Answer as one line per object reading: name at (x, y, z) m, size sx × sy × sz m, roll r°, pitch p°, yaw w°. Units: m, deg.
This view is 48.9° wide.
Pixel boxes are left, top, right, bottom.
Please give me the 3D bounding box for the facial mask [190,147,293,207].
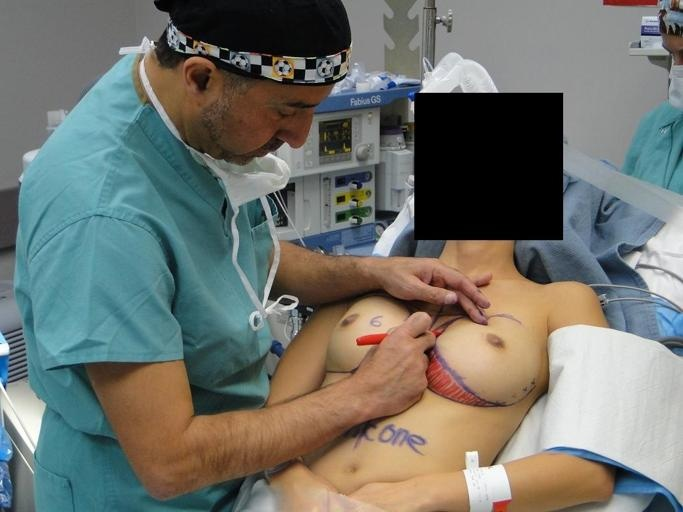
facial mask at (-0.257, -0.223, 2.075) m, size 0.163 × 0.103 × 0.181 m, roll 26°, pitch 20°, yaw -3°
